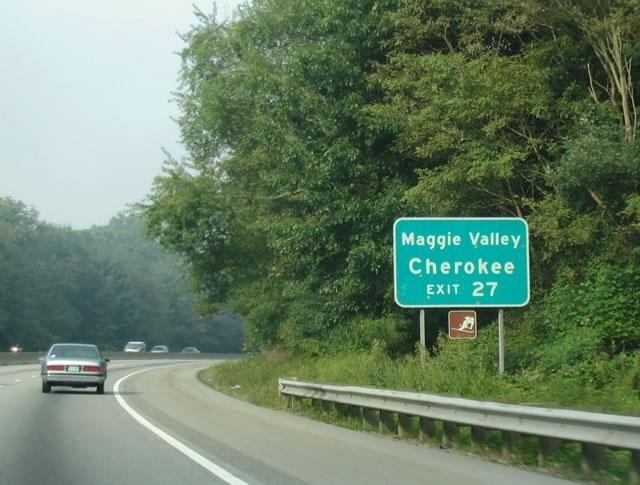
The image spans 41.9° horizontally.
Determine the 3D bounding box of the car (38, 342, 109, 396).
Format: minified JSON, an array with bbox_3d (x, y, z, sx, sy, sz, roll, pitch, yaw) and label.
[{"bbox_3d":[-8.742,4.628,29.791,2.153,1.517,1.904,-1,7,-2],"label":"car"}]
